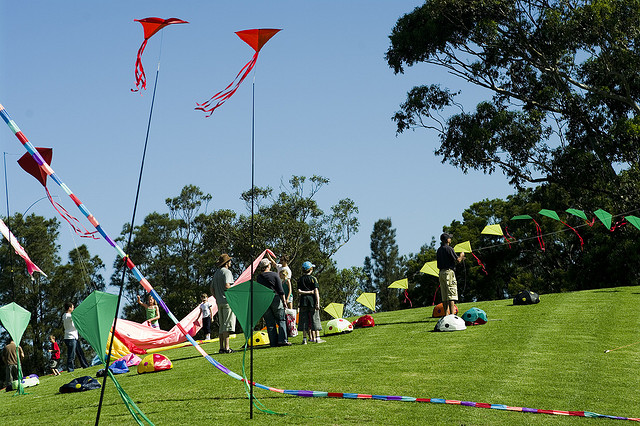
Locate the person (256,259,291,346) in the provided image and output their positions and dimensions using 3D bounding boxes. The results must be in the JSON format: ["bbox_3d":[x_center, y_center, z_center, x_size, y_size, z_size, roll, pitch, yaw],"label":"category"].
[{"bbox_3d":[-1.722,3.265,22.187,0.858,3.247,0.921,-7,-1,11],"label":"person"}]

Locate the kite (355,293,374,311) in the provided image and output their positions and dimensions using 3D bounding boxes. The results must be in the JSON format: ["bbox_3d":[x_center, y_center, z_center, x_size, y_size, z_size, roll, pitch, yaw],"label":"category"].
[{"bbox_3d":[2.153,4.095,27.927,0.428,0.723,0.626,9,-9,-34],"label":"kite"}]

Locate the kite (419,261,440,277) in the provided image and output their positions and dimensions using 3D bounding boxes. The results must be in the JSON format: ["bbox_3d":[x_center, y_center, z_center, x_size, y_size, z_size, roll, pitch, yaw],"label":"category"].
[{"bbox_3d":[5.257,2.612,28.411,0.951,0.562,1.030,-11,19,-30],"label":"kite"}]

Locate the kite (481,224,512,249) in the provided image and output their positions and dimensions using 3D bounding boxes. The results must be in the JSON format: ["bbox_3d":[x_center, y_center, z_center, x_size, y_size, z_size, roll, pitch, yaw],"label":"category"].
[{"bbox_3d":[8.213,0.925,28.091,0.401,1.269,0.839,-42,0,-41],"label":"kite"}]

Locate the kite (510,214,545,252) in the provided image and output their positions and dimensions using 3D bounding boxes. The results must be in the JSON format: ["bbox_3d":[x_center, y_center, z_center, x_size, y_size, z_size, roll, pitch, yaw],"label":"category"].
[{"bbox_3d":[17.581,1.553,50.680,1.812,2.782,1.367,-24,17,1],"label":"kite"}]

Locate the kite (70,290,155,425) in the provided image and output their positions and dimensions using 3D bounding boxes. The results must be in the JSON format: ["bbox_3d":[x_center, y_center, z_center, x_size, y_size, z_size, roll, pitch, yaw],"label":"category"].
[{"bbox_3d":[-5.414,3.710,15.309,1.635,3.587,1.345,-7,-10,-13],"label":"kite"}]

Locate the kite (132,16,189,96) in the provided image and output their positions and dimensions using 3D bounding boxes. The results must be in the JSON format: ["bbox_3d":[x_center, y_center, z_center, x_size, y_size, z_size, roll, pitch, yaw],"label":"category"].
[{"bbox_3d":[-4.823,-4.358,16.619,1.751,2.164,1.416,19,12,36],"label":"kite"}]

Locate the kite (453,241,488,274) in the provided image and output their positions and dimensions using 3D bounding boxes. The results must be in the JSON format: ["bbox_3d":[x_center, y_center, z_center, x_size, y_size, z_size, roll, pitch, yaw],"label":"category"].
[{"bbox_3d":[11.421,3.320,45.013,3.837,0.148,2.248,41,-23,-30],"label":"kite"}]

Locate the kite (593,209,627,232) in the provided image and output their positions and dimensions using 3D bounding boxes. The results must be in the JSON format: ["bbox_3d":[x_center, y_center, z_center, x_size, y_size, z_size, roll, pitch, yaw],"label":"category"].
[{"bbox_3d":[16.823,0.418,34.837,0.813,0.458,1.601,-18,-29,22],"label":"kite"}]

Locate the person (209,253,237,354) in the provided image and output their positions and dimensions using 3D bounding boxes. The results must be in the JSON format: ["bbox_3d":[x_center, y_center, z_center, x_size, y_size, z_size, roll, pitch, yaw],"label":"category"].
[{"bbox_3d":[-3.357,3.245,21.576,1.007,3.536,0.939,-11,-13,37],"label":"person"}]
